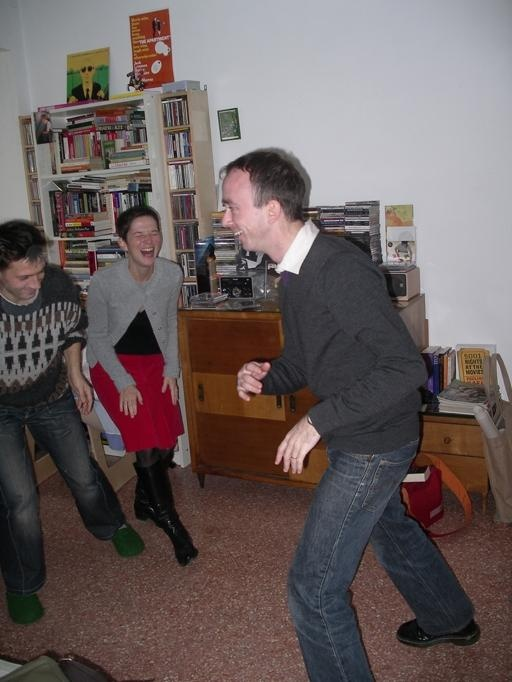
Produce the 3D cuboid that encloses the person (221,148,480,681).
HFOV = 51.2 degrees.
[{"bbox_3d":[0.292,0.273,1.290,0.607,1.447,0.555,-7,11,-7],"label":"person"}]

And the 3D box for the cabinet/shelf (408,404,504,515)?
[{"bbox_3d":[0.893,0.526,2.565,0.414,0.578,0.386,1,7,24],"label":"cabinet/shelf"}]

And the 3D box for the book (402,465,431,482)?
[{"bbox_3d":[0.679,0.549,2.214,0.134,0.033,0.135,-11,2,42],"label":"book"}]

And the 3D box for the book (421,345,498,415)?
[{"bbox_3d":[0.977,0.183,2.598,0.444,0.414,0.103,6,-14,11],"label":"book"}]
